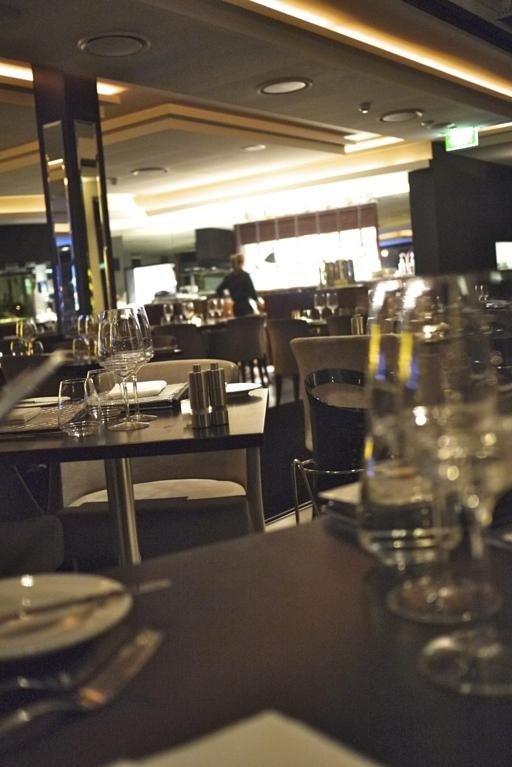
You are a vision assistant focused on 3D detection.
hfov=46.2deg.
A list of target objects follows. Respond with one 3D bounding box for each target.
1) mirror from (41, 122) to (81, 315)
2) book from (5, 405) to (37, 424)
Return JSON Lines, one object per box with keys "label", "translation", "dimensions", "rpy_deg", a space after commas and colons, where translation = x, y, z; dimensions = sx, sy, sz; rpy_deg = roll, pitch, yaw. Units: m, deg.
{"label": "mirror", "translation": [-1.359, -1.157, 4.352], "dimensions": [0.058, 1.446, 0.240], "rpy_deg": [-6, 18, -37]}
{"label": "book", "translation": [-0.635, 0.090, 1.614], "dimensions": [0.066, 0.019, 0.094], "rpy_deg": [-2, 7, -1]}
